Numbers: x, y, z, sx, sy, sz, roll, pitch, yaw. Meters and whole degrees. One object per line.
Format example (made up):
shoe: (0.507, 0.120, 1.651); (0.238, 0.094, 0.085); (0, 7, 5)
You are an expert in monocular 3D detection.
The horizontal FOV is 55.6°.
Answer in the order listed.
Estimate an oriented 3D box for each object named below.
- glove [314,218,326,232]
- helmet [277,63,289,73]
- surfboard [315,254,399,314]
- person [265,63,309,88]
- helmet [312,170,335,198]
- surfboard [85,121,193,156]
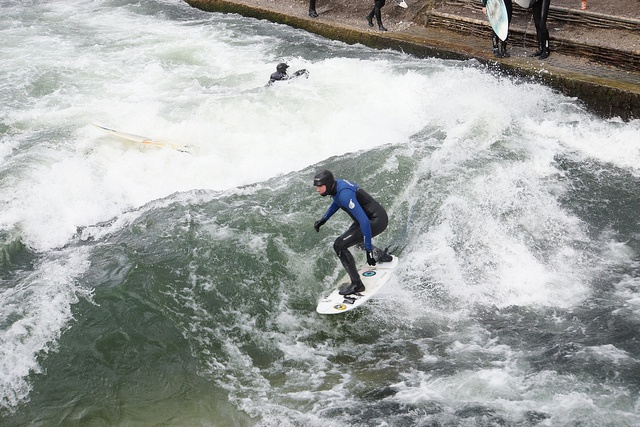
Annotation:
glove: (0.003, 0.264, 13.388); (0.260, 0.256, 0.093); (-33, 59, 29)
helmet: (-1.110, -4.443, 18.475); (0.333, 0.321, 0.304); (1, 6, 12)
surfboard: (0.868, 1.555, 12.597); (0.746, 0.305, 2.246); (30, 52, 31)
person: (-1.041, -4.303, 18.538); (0.913, 0.355, 0.901); (-27, 23, -12)
helmet: (0.109, -0.602, 12.358); (0.430, 0.475, 0.313); (-8, 43, 3)
surfboard: (-4.872, -1.985, 16.277); (1.888, 0.264, 0.277); (22, 48, 0)
